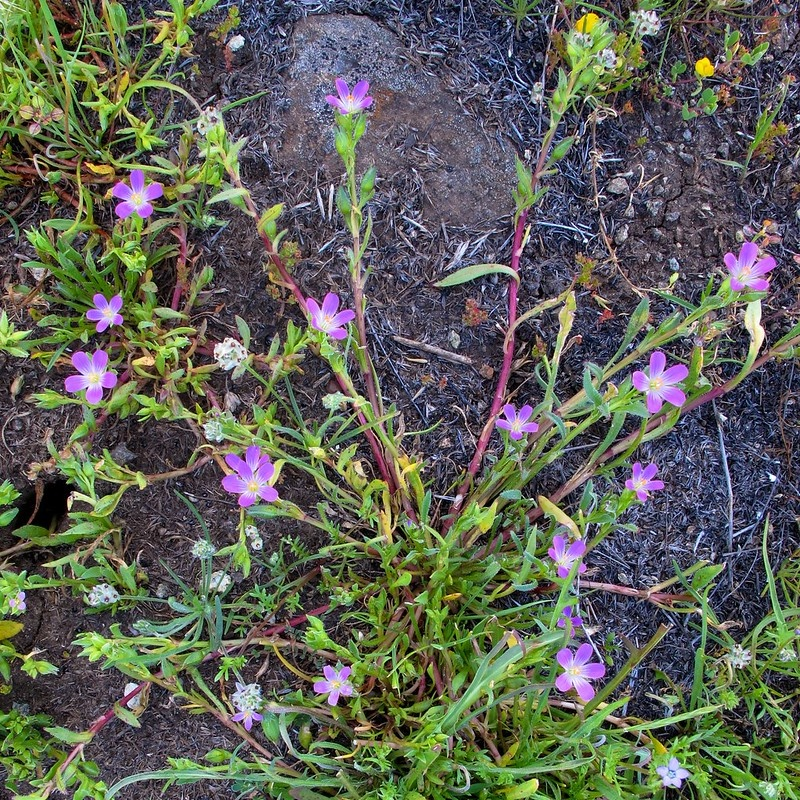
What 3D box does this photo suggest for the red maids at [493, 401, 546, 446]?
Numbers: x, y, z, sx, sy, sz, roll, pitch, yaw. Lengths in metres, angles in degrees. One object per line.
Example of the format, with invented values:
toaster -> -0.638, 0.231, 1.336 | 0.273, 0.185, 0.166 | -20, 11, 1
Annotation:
red maids -> 0.377, 0.062, 2.414 | 0.129, 0.066, 0.126 | 37, 91, -15

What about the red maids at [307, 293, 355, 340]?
red maids -> -0.219, -0.252, 2.281 | 0.132, 0.074, 0.152 | -8, 85, -35

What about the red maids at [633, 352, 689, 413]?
red maids -> 0.765, -0.046, 2.212 | 0.174, 0.053, 0.183 | -31, 113, -8
